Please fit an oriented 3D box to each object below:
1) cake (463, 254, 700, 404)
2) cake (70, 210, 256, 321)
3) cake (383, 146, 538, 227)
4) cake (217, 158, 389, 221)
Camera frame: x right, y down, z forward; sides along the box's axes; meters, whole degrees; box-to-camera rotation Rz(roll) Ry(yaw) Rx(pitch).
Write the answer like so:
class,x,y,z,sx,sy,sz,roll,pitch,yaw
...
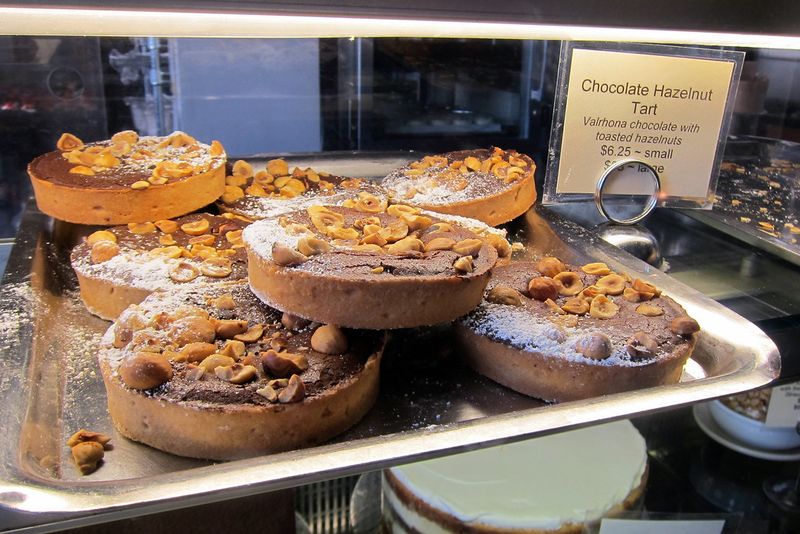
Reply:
class,x,y,z,sx,sy,sz,roll,pitch,yaw
cake,0.330,0.107,1.135,0.358,0.100,0.306,0,22,-19
cake,-0.521,-0.025,1.310,0.303,0.090,0.316,19,27,34
cake,0.175,-0.242,1.577,0.297,0.081,0.302,-17,26,-30
cake,-0.302,-0.211,1.595,0.307,0.080,0.274,1,15,-24
